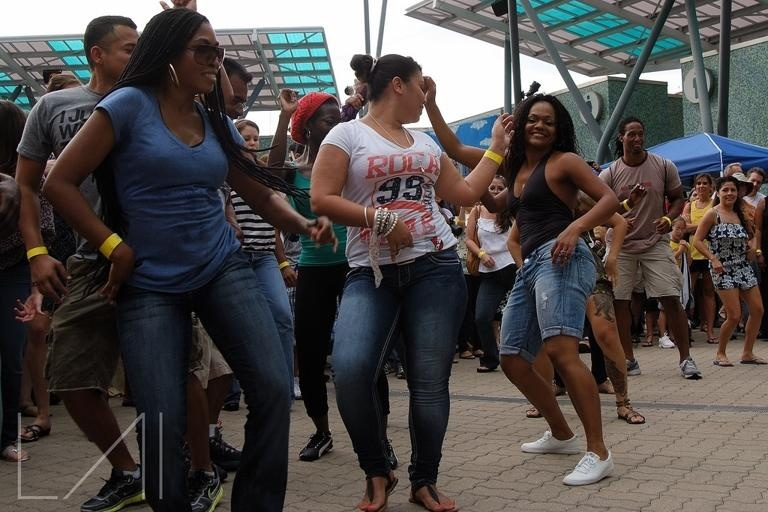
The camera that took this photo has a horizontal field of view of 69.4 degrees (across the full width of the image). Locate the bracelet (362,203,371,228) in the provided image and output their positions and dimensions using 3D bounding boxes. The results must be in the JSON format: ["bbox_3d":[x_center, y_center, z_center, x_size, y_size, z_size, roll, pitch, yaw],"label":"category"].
[{"bbox_3d":[-0.097,-0.221,3.162,0.038,0.117,0.047,-5,10,-3],"label":"bracelet"}]

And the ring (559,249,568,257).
[{"bbox_3d":[1.251,-0.024,3.847,0.038,0.043,0.045,-4,1,18],"label":"ring"}]

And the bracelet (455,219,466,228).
[{"bbox_3d":[1.303,-0.551,9.322,0.194,0.165,0.183,4,-1,8],"label":"bracelet"}]

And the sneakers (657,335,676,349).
[{"bbox_3d":[4.915,1.490,9.653,0.143,0.131,0.316,-3,-7,6],"label":"sneakers"}]

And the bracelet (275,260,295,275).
[{"bbox_3d":[-1.058,0.139,6.066,0.147,0.153,0.174,-33,25,-14],"label":"bracelet"}]

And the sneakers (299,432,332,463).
[{"bbox_3d":[-0.547,1.496,4.385,0.124,0.132,0.321,-5,-8,26],"label":"sneakers"}]

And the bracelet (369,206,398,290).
[{"bbox_3d":[-0.010,-0.066,3.218,0.181,0.370,0.279,9,3,5],"label":"bracelet"}]

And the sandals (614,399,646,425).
[{"bbox_3d":[2.295,1.438,5.136,0.133,0.124,0.309,-6,-10,-8],"label":"sandals"}]

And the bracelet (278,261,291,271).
[{"bbox_3d":[-1.082,0.109,6.042,0.084,0.056,0.100,-27,-4,-36],"label":"bracelet"}]

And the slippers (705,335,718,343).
[{"bbox_3d":[5.819,1.480,9.960,0.166,0.089,0.302,-6,4,-40],"label":"slippers"}]

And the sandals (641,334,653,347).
[{"bbox_3d":[4.808,1.551,10.090,0.179,0.179,0.513,-5,-9,26],"label":"sandals"}]

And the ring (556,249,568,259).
[{"bbox_3d":[1.249,-0.020,3.867,0.055,0.028,0.069,4,-13,3],"label":"ring"}]

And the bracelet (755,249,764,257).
[{"bbox_3d":[6.294,-0.066,9.273,0.146,0.035,0.137,-18,21,6],"label":"bracelet"}]

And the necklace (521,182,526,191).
[{"bbox_3d":[1.075,-0.531,4.244,0.054,0.052,0.056,-3,-5,7],"label":"necklace"}]

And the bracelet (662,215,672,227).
[{"bbox_3d":[3.297,-0.413,6.440,0.083,0.099,0.108,6,3,-38],"label":"bracelet"}]

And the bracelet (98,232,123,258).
[{"bbox_3d":[-1.277,-0.050,2.624,0.109,0.078,0.106,-37,26,33],"label":"bracelet"}]

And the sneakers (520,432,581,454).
[{"bbox_3d":[1.325,1.478,4.424,0.496,0.172,0.175,0,-3,11],"label":"sneakers"}]

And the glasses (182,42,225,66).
[{"bbox_3d":[-0.888,-1.015,2.794,0.139,0.050,0.135,3,6,38],"label":"glasses"}]

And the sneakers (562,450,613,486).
[{"bbox_3d":[1.422,1.450,3.862,0.458,0.160,0.148,-9,-2,-31],"label":"sneakers"}]
